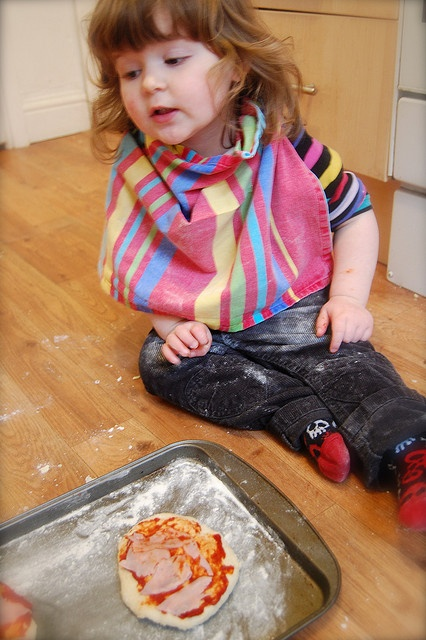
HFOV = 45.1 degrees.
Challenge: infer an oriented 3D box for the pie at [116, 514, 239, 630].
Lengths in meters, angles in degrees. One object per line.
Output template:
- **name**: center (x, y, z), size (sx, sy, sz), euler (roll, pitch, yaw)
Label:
- **pie**: center (-0.036, 0.237, 0.501), size (0.113, 0.017, 0.158), euler (-7, 13, -20)
